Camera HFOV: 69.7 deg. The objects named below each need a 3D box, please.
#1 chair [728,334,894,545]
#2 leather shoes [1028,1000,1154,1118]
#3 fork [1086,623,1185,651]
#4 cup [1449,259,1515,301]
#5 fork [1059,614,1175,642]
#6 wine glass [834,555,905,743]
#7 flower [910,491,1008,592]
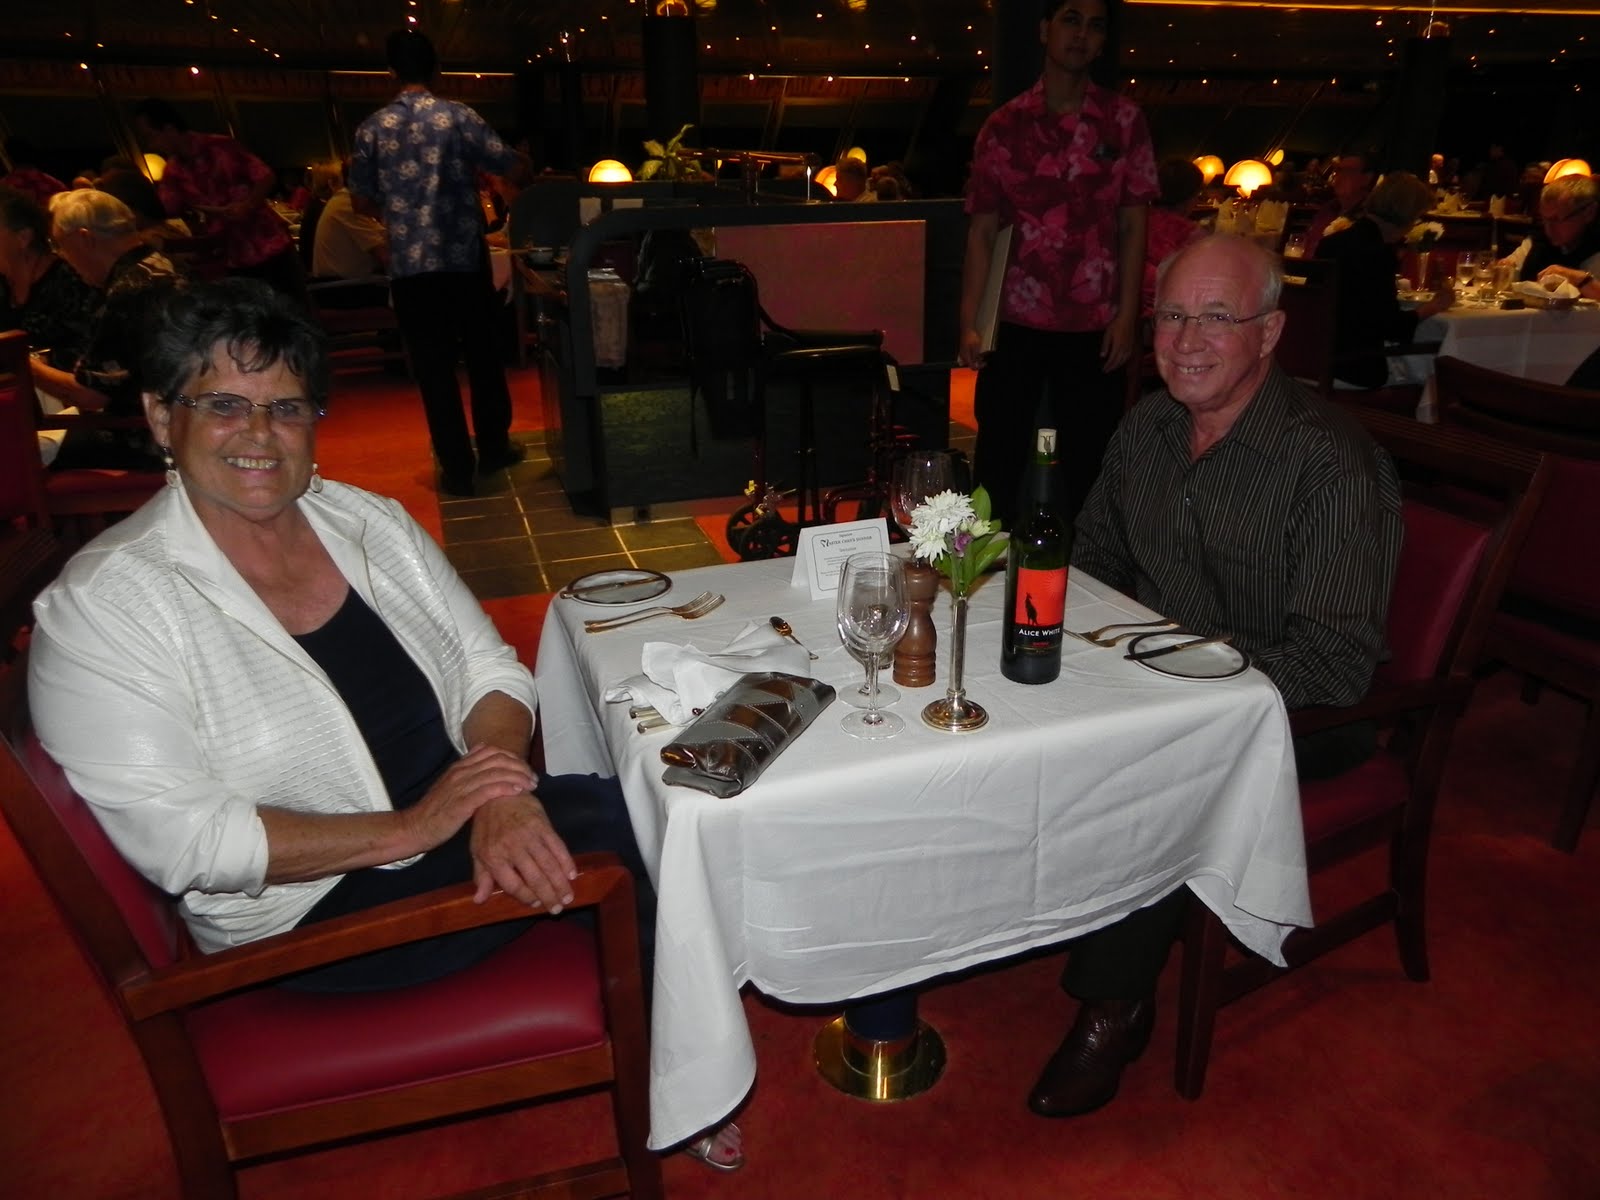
[{"bbox_3d":[0.011,-0.592,4.395,0.605,0.822,0.790,-3,23,-2],"label":"chair"},{"bbox_3d":[0.600,0.942,2.350,0.220,0.159,0.089,-30,47,-13],"label":"leather shoes"},{"bbox_3d":[0.628,0.056,2.197,0.184,0.025,0.066,-6,20,-30],"label":"fork"},{"bbox_3d":[3.259,-1.509,5.488,0.256,0.134,0.358,-5,15,4],"label":"cup"},{"bbox_3d":[0.621,0.058,2.199,0.190,0.022,0.068,-7,22,-29],"label":"fork"},{"bbox_3d":[0.122,0.059,1.954,0.114,0.247,0.256,0,23,5],"label":"wine glass"},{"bbox_3d":[0.267,-0.117,2.065,0.175,0.193,0.184,-9,40,1],"label":"flower"}]
